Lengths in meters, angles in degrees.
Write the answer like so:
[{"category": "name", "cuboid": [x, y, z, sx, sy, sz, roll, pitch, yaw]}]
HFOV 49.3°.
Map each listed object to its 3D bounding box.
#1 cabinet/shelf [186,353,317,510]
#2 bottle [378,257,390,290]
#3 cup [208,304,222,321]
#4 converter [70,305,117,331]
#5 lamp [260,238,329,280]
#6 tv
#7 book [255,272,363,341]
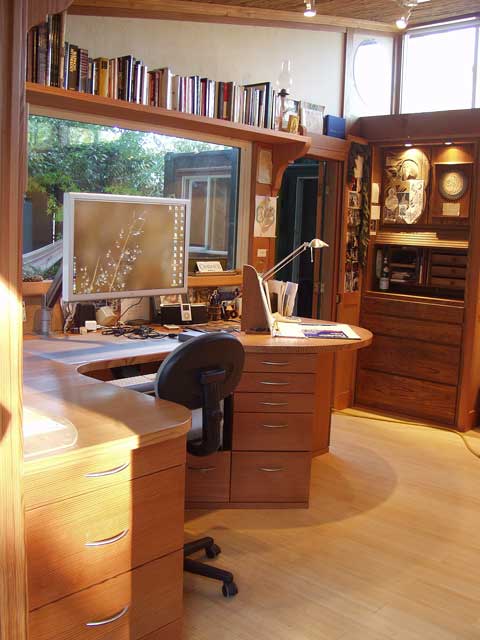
[{"category": "cabinet/shelf", "cuboid": [0.039, 0.495, 2.391, 0.794, 0.759, 0.452, 0, 7, -3]}, {"category": "bottle", "cuboid": [1.253, -0.399, 4.542, 0.077, 0.287, 0.106, 1, 10, -2]}, {"category": "cup", "cuboid": [-0.163, -0.052, 3.283, 0.092, 0.107, 0.088, -1, 9, 0]}, {"category": "converter", "cuboid": [-0.784, -0.023, 2.790, 0.227, 0.131, 0.162, 5, 5, 2]}, {"category": "lamp", "cuboid": [0.289, -0.345, 2.988, 0.426, 0.176, 0.103, -14, 0, -12]}, {"category": "tv", "cuboid": [-0.578, -0.322, 2.590, 0.071, 0.494, 0.729, 14, 16, 40]}, {"category": "book", "cuboid": [0.367, -0.065, 2.921, 0.406, 0.253, 0.393, 3, 4, -2]}]
